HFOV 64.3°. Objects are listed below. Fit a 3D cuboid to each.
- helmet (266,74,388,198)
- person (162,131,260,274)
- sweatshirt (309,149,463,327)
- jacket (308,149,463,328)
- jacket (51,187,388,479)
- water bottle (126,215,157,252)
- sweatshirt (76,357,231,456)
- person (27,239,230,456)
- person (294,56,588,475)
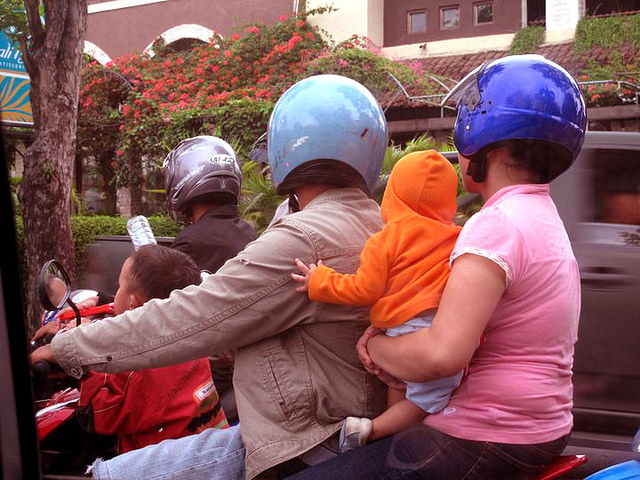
[{"bbox_3d":[0.023,-0.334,1.767,0.394,0.405,0.490,4,-12,-6],"label":"helmet"},{"bbox_3d":[-0.743,-0.290,3.253,0.667,0.772,0.592,-7,-2,37],"label":"person"},{"bbox_3d":[0.189,-0.007,1.457,0.411,0.497,0.256,-1,3,12],"label":"sweatshirt"},{"bbox_3d":[0.246,0.011,1.545,0.546,0.569,0.374,2,7,-36],"label":"jacket"},{"bbox_3d":[-0.231,0.275,1.448,0.849,0.739,0.293,-3,4,-24],"label":"jacket"},{"bbox_3d":[-0.876,-0.051,2.495,0.133,0.078,0.230,-13,48,-25],"label":"water bottle"},{"bbox_3d":[-0.701,0.562,1.875,0.327,0.197,0.349,-30,-16,-40],"label":"sweatshirt"},{"bbox_3d":[-0.779,0.464,1.877,0.440,0.879,0.484,9,36,-53],"label":"person"},{"bbox_3d":[0.424,0.055,1.402,0.687,1.138,0.375,-4,4,-35],"label":"person"}]
